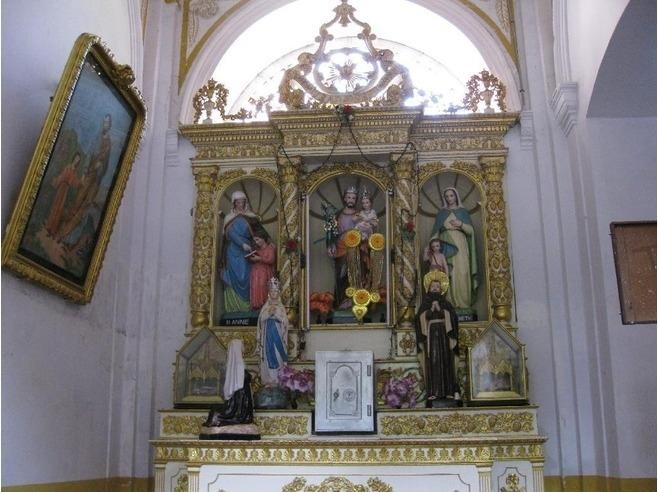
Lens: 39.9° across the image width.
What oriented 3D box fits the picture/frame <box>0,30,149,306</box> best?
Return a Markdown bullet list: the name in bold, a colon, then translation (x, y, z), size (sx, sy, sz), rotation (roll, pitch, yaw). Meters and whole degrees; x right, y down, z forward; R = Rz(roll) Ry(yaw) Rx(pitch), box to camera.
- **picture/frame**: translation (-2.466, -0.724, 8.567), size (0.261, 2.993, 2.027), rotation (9, -14, 10)
